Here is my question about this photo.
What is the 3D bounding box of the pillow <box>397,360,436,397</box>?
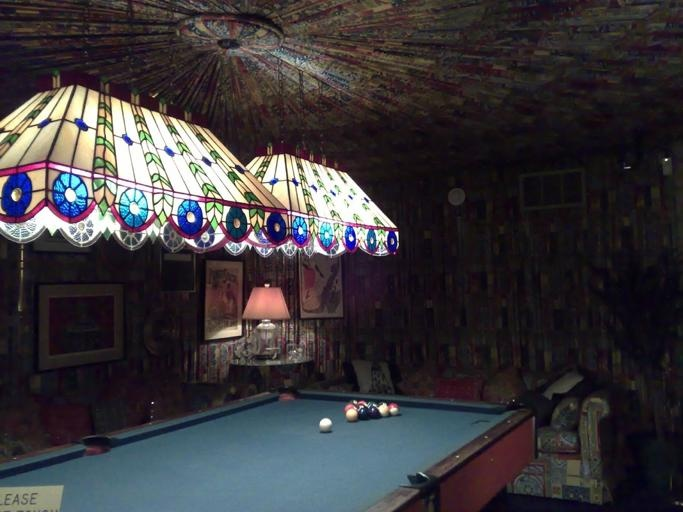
[{"bbox_3d":[0.800,1.210,5.852,0.236,0.329,0.064,4,-35,21],"label":"pillow"}]

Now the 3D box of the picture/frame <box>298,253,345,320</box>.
[{"bbox_3d":[-0.234,0.343,6.091,0.586,0.866,0.079,7,-11,-42],"label":"picture/frame"}]

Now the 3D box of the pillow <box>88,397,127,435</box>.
[{"bbox_3d":[-1.639,1.107,4.028,0.038,0.221,0.295,-9,-12,23],"label":"pillow"}]

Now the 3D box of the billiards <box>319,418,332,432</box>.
[{"bbox_3d":[-0.081,0.912,3.137,0.055,0.050,0.059,-1,-2,-3],"label":"billiards"}]

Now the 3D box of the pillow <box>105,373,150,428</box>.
[{"bbox_3d":[-1.566,1.077,4.302,0.072,0.329,0.314,-2,-8,26],"label":"pillow"}]

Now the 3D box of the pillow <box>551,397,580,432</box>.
[{"bbox_3d":[1.787,1.270,4.661,0.093,0.258,0.188,29,-15,19],"label":"pillow"}]

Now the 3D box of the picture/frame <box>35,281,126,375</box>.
[{"bbox_3d":[-1.810,0.492,3.967,0.060,0.617,0.627,-4,-4,36],"label":"picture/frame"}]

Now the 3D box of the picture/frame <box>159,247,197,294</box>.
[{"bbox_3d":[-1.358,0.157,4.780,0.043,0.321,0.343,1,0,32],"label":"picture/frame"}]

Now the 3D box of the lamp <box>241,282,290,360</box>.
[{"bbox_3d":[-0.734,0.619,5.573,0.408,0.670,0.715,1,1,-10],"label":"lamp"}]

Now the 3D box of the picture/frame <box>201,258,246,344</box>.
[{"bbox_3d":[-1.057,0.409,5.283,0.013,0.705,0.579,1,-1,29],"label":"picture/frame"}]

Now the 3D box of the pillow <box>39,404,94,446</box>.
[{"bbox_3d":[-1.829,1.139,3.891,0.041,0.295,0.393,-18,-20,22],"label":"pillow"}]

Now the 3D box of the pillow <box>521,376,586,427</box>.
[{"bbox_3d":[1.884,1.148,4.997,0.510,0.188,0.499,-4,0,-4],"label":"pillow"}]
